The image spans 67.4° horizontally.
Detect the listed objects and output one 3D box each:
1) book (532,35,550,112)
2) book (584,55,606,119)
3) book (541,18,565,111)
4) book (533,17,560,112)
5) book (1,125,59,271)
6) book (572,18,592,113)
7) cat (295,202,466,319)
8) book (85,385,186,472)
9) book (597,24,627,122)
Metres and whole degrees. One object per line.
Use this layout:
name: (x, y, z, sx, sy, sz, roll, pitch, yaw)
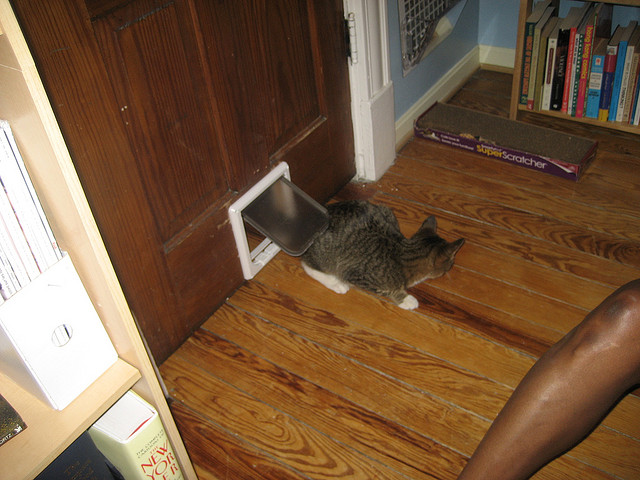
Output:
book: (1.195, -0.916, 2.593, 0.027, 0.284, 0.221, 5, 44, 20)
book: (1.428, -0.806, 2.491, 0.073, 0.222, 0.214, 9, 28, 18)
book: (1.239, -0.952, 2.550, 0.058, 0.392, 0.439, 9, 0, 17)
book: (1.210, -0.957, 2.565, 0.050, 0.388, 0.346, 9, 62, 17)
book: (-0.567, -0.067, 0.919, 0.037, 0.275, 0.068, 28, 51, 31)
book: (1.352, -0.917, 2.478, 0.046, 0.357, 0.318, 8, 72, 22)
cat: (0.233, 0.017, 2.085, 0.774, 0.315, 0.528, 20, 44, -21)
book: (-0.465, 0.465, 1.181, 0.142, 0.245, 0.135, -41, 45, -17)
book: (1.459, -0.833, 2.480, 0.079, 0.359, 0.353, 8, 44, 16)
